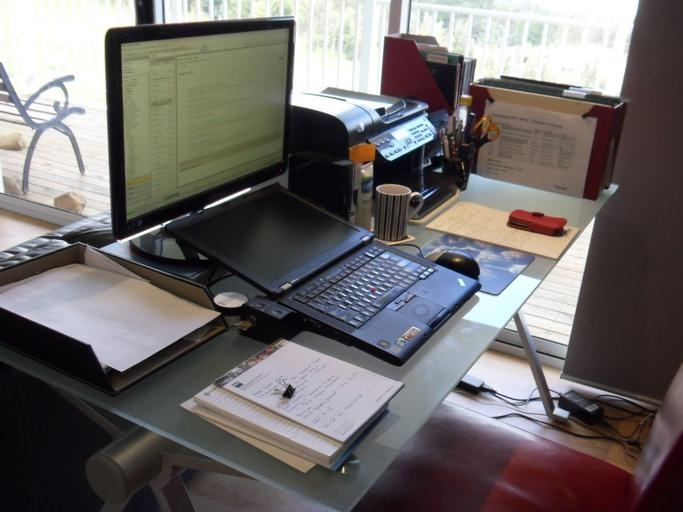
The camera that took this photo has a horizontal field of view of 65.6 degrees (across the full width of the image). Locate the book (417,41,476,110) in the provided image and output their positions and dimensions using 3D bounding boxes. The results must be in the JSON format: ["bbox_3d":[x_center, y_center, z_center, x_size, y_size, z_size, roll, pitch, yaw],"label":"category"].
[{"bbox_3d":[0.395,-0.689,2.008,0.195,0.252,0.085,27,50,33],"label":"book"}]

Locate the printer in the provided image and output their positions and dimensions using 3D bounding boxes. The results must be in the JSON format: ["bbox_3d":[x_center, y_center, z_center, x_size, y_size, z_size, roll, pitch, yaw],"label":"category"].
[{"bbox_3d":[0.075,-0.300,1.628,0.304,0.259,0.405,24,38,21],"label":"printer"}]

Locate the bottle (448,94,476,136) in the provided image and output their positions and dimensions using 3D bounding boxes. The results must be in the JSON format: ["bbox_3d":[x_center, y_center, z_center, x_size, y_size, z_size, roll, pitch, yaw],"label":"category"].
[{"bbox_3d":[0.438,-0.505,1.914,0.081,0.192,0.076,2,41,-2],"label":"bottle"}]

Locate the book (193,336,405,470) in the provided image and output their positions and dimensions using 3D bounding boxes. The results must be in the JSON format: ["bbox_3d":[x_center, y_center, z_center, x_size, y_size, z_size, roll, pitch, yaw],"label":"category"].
[{"bbox_3d":[-0.075,0.254,0.961,0.304,0.053,0.222,15,30,23],"label":"book"}]

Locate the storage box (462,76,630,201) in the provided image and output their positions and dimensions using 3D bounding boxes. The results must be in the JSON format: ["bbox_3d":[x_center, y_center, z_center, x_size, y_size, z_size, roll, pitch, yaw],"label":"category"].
[{"bbox_3d":[0.710,-0.413,1.892,0.424,0.272,0.202,18,39,20],"label":"storage box"}]

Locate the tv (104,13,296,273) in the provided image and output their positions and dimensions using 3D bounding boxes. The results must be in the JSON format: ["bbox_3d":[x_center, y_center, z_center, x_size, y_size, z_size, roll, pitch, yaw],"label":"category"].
[{"bbox_3d":[-0.324,-0.248,1.223,0.087,0.441,0.620,16,25,31],"label":"tv"}]

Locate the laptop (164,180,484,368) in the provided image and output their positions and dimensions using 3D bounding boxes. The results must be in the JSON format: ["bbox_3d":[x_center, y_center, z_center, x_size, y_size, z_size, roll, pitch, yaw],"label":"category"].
[{"bbox_3d":[-0.035,-0.012,1.207,0.578,0.112,0.401,24,33,19],"label":"laptop"}]
